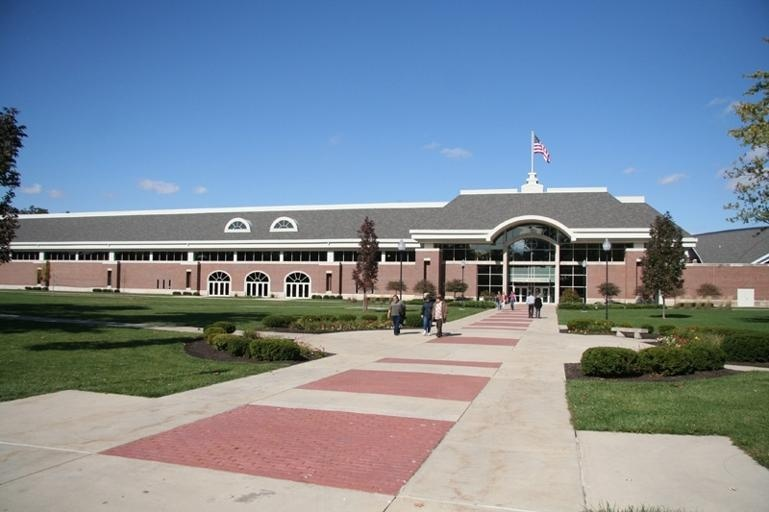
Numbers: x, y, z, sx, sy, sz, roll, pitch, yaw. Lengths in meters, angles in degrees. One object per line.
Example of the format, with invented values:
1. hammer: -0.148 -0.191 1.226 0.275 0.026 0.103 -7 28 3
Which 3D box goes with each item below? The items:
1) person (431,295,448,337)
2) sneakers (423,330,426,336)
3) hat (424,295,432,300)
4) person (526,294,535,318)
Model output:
1. person: 2.542 2.766 27.083 0.567 1.952 1.270 1 8 4
2. sneakers: 1.909 3.682 28.145 0.226 0.257 0.644 -1 -6 5
3. hat: 2.104 1.980 27.993 0.285 0.167 0.253 -1 -4 2
4. person: 10.374 3.570 41.480 0.421 1.496 2.171 2 7 12
